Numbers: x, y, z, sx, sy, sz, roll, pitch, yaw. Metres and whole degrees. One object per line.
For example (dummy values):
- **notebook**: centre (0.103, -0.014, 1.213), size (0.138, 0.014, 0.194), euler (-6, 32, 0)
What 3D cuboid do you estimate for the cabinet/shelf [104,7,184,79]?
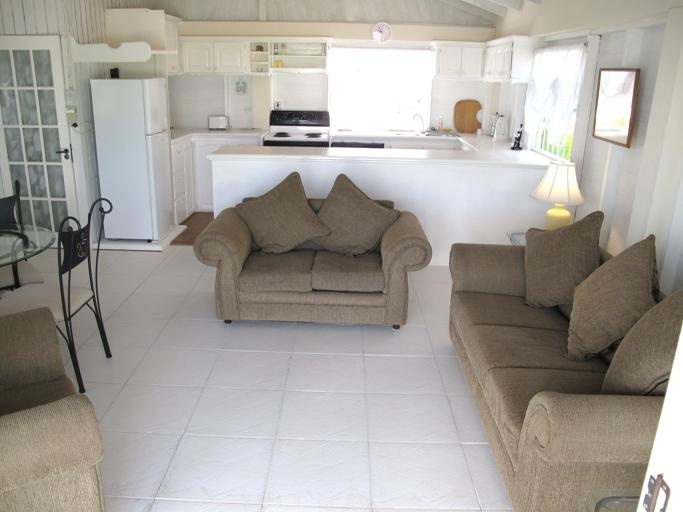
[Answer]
- **cabinet/shelf**: centre (-2.216, -2.456, 5.906), size (0.631, 0.723, 1.363), euler (3, 18, 15)

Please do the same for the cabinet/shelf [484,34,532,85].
- **cabinet/shelf**: centre (2.088, -2.478, 6.455), size (0.263, 0.546, 1.081), euler (-2, 18, -2)

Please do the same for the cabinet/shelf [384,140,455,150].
- **cabinet/shelf**: centre (1.136, -1.602, 7.321), size (1.005, 0.094, 0.263), euler (7, 19, 25)

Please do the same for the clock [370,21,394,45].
- **clock**: centre (0.576, -3.228, 7.346), size (0.280, 0.270, 0.190), euler (-1, 18, 3)

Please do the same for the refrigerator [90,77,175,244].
- **refrigerator**: centre (-2.313, -1.063, 5.734), size (0.882, 1.775, 0.504), euler (-9, 19, -22)

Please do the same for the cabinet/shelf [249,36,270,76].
- **cabinet/shelf**: centre (-1.176, -2.873, 7.384), size (0.283, 0.439, 0.207), euler (-2, 18, 0)

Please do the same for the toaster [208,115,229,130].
- **toaster**: centre (-1.848, -2.022, 7.706), size (0.320, 0.201, 0.238), euler (-6, 18, -12)

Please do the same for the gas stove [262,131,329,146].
- **gas stove**: centre (-0.647, -1.664, 7.337), size (0.945, 0.196, 0.990), euler (-2, 18, 0)

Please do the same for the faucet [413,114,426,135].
- **faucet**: centre (1.206, -2.061, 7.894), size (0.212, 0.277, 0.340), euler (-1, 18, 2)

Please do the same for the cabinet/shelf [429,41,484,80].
- **cabinet/shelf**: centre (1.635, -2.913, 7.201), size (0.800, 0.552, 0.440), euler (1, 28, 3)

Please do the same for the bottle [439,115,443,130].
- **bottle**: centre (1.513, -2.054, 7.853), size (0.071, 0.197, 0.047), euler (-2, 18, -1)
